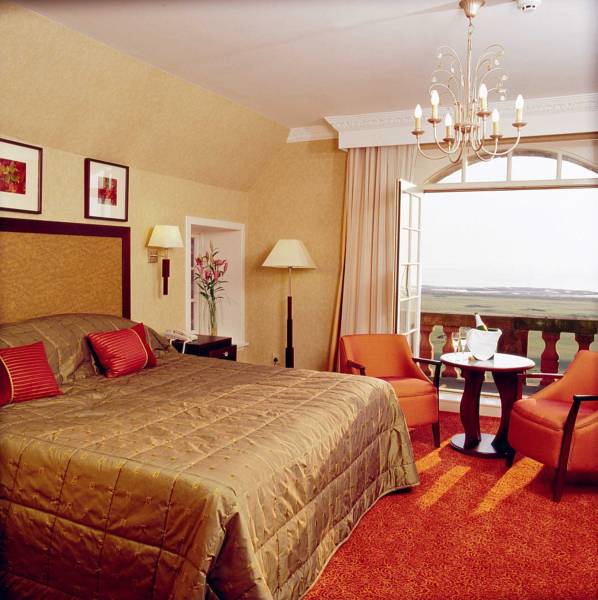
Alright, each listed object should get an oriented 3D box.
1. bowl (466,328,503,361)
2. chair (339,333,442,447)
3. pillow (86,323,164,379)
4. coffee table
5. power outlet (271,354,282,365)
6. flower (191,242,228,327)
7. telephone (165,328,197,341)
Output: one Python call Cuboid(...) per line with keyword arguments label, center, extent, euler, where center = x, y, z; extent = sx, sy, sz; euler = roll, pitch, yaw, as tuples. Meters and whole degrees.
Cuboid(label="bowl", center=(1.542, 0.361, 4.157), extent=(0.294, 0.308, 0.247), euler=(0, -2, 14))
Cuboid(label="chair", center=(0.781, 0.748, 4.280), extent=(0.704, 0.929, 0.821), euler=(-3, -2, -22))
Cuboid(label="pillow", center=(-1.212, 0.334, 3.393), extent=(0.133, 0.285, 0.456), euler=(-26, -6, 20))
Cuboid(label="coffee table", center=(1.553, 0.879, 4.090), extent=(0.667, 0.685, 0.662), euler=(-1, -9, 35))
Cuboid(label="power outlet", center=(-0.285, 0.764, 6.194), extent=(0.130, 0.134, 0.079), euler=(-3, -3, 26))
Cuboid(label="flower", center=(-1.024, -0.084, 5.685), extent=(0.385, 0.955, 0.335), euler=(5, 22, 4))
Cuboid(label="telephone", center=(-1.160, 0.341, 4.776), extent=(0.206, 0.076, 0.125), euler=(2, -2, 10))
